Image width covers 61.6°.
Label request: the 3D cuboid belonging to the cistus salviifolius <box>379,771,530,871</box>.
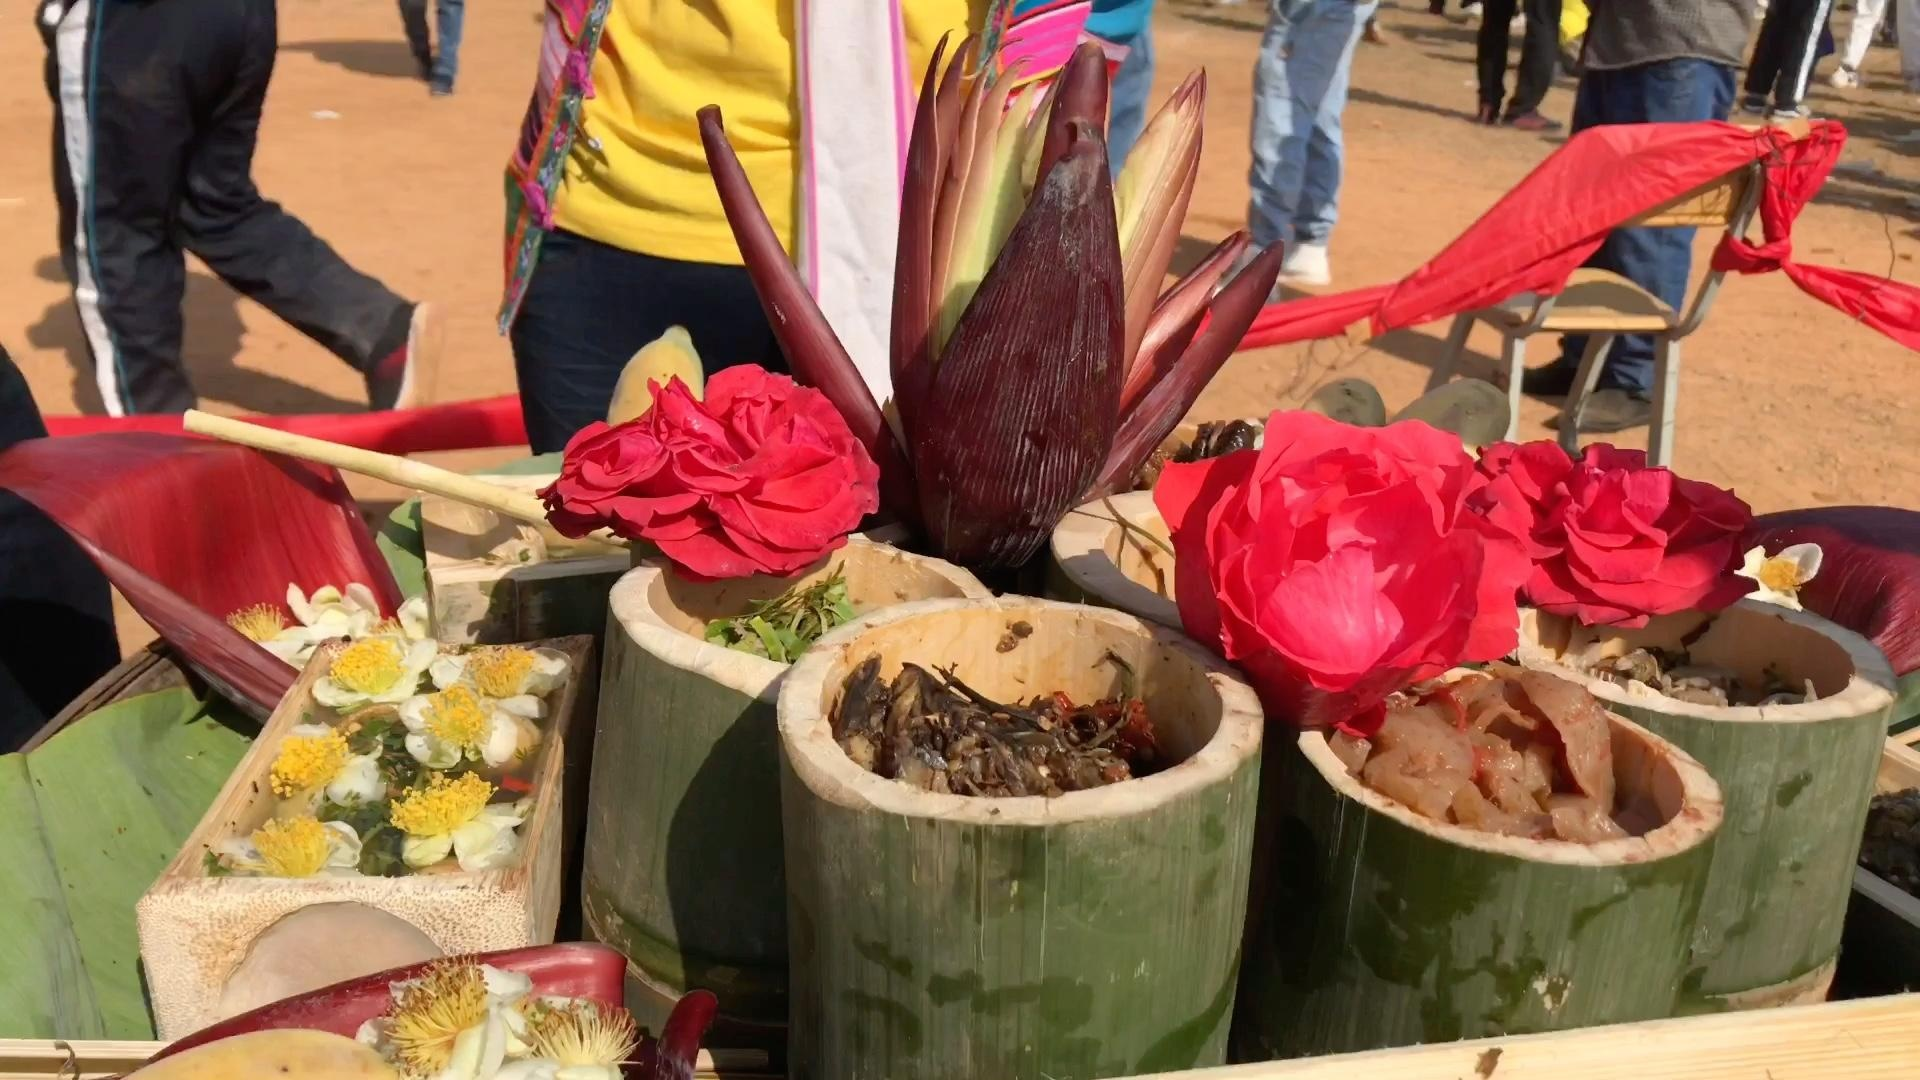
[{"bbox_3d":[-0.621,0.349,1.995,0.153,0.106,0.136,0,24,-18],"label":"cistus salviifolius"}]

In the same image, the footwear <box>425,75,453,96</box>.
[{"bbox_3d":[-3.281,-2.887,10.243,0.128,0.101,0.250,19,25,24],"label":"footwear"}]

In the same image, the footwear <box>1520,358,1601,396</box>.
[{"bbox_3d":[2.153,-0.575,5.732,0.202,0.050,0.206,0,64,7],"label":"footwear"}]

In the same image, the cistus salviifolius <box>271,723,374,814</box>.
[{"bbox_3d":[-0.795,0.291,2.051,0.142,0.072,0.068,7,22,-3],"label":"cistus salviifolius"}]

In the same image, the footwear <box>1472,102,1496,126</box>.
[{"bbox_3d":[3.315,-2.661,10.098,0.105,0.094,0.179,8,15,-2],"label":"footwear"}]

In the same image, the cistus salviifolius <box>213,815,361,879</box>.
[{"bbox_3d":[-0.816,0.380,1.967,0.096,0.043,0.095,1,7,-1],"label":"cistus salviifolius"}]

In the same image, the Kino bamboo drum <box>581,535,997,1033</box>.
[{"bbox_3d":[-0.116,0.288,2.121,0.504,0.573,0.562,8,19,11],"label":"Kino bamboo drum"}]

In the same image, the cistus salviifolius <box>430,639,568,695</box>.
[{"bbox_3d":[-0.595,0.172,2.095,0.090,0.038,0.098,4,11,7],"label":"cistus salviifolius"}]

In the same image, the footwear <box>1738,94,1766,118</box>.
[{"bbox_3d":[4.552,-2.474,9.196,0.083,0.101,0.233,8,20,20],"label":"footwear"}]
